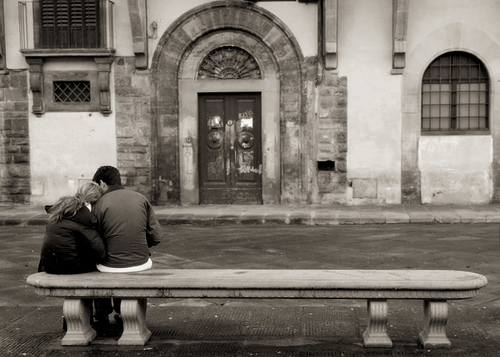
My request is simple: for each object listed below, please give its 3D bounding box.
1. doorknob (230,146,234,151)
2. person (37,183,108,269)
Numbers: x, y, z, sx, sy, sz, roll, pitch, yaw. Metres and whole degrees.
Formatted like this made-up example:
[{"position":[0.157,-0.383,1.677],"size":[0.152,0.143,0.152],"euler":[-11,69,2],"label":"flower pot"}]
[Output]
[{"position":[-0.460,-0.804,19.515],"size":[0.123,0.113,0.064],"euler":[1,-3,1],"label":"doorknob"},{"position":[-2.260,0.647,9.972],"size":[0.941,1.199,0.971],"euler":[7,-2,6],"label":"person"}]
